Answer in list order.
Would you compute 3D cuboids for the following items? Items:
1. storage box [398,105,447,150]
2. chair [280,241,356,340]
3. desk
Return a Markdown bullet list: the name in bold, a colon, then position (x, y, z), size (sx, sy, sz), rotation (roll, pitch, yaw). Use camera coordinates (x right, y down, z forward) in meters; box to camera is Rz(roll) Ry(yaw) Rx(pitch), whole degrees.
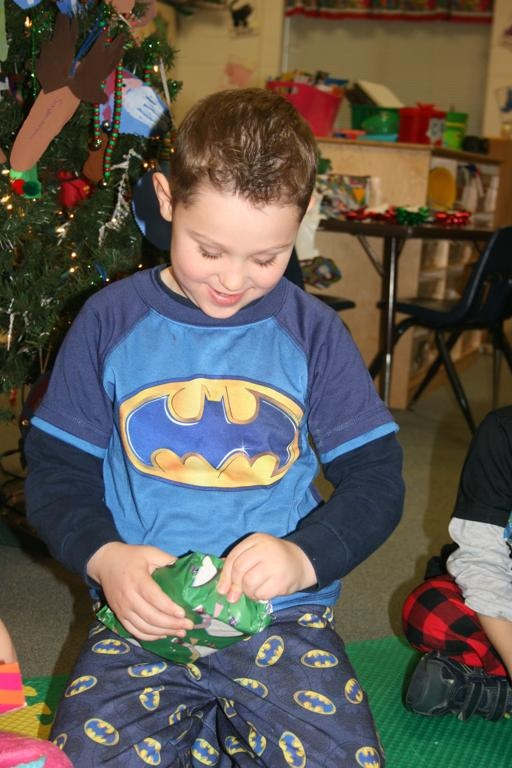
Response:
- **storage box**: position (0.760, -1.189, 2.914), size (0.195, 0.210, 0.402), rotation (6, 11, 19)
- **chair**: position (0.197, -0.417, 2.489), size (0.221, 0.326, 0.286), rotation (-13, -18, 26)
- **desk**: position (0.561, -0.286, 2.667), size (0.712, 0.761, 0.700), rotation (-8, 9, -16)
